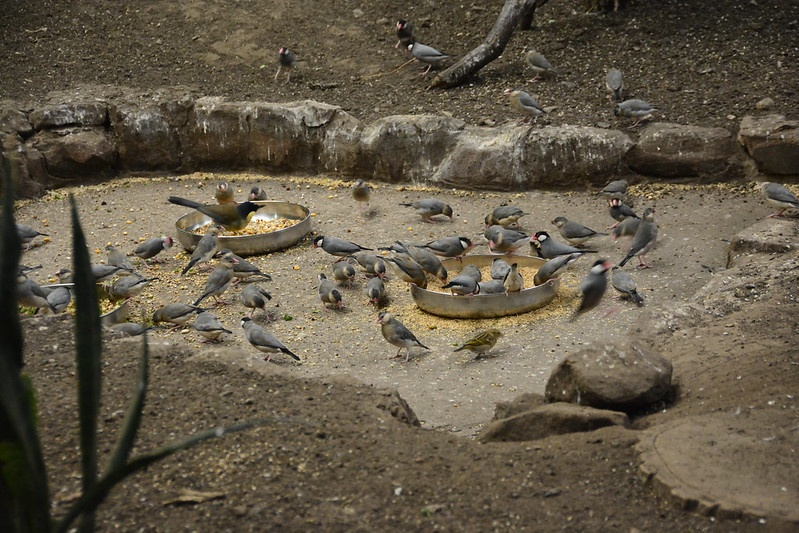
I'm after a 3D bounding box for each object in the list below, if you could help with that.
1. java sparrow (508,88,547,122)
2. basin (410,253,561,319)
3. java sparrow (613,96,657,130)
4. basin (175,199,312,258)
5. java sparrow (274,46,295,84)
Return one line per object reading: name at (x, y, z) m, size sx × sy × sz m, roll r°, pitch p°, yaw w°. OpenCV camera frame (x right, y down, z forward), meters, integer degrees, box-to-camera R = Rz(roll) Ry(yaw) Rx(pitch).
java sparrow at (2.306, -2.862, 18.895) m, size 0.647 × 0.694 × 0.791 m, roll 7°, pitch 32°, yaw 6°
basin at (1.338, 0.259, 15.384) m, size 1.743 × 0.559 × 1.711 m, roll 2°, pitch 30°, yaw -1°
java sparrow at (3.981, -2.705, 18.581) m, size 0.960 × 0.444 × 0.370 m, roll -6°, pitch 20°, yaw 18°
basin at (-2.431, -0.539, 16.922) m, size 1.517 × 0.251 × 1.310 m, roll 0°, pitch 23°, yaw 1°
java sparrow at (-2.314, -4.130, 21.463) m, size 0.379 × 0.696 × 0.629 m, roll -1°, pitch 33°, yaw -5°
